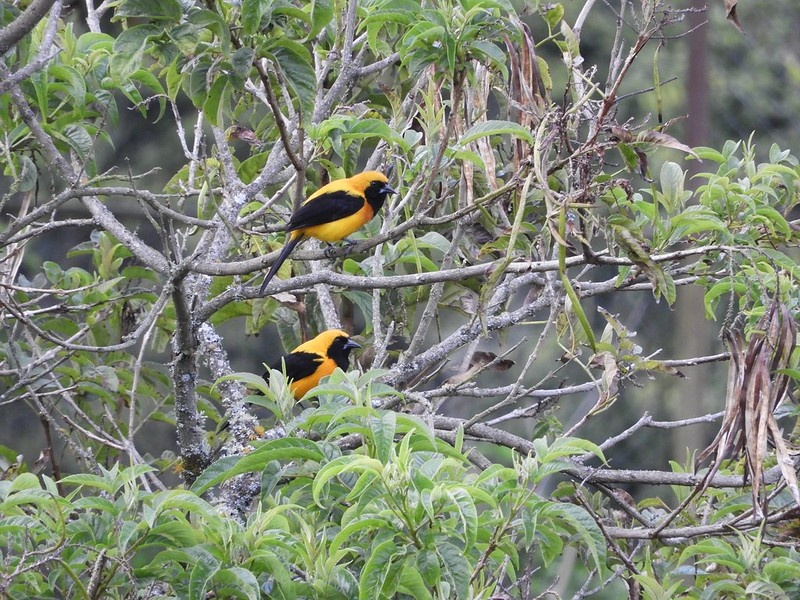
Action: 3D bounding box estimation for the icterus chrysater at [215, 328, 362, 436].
[{"bbox_3d":[-0.801,0.460,8.699,1.088,0.703,0.415,-3,4,-4],"label":"icterus chrysater"}]
